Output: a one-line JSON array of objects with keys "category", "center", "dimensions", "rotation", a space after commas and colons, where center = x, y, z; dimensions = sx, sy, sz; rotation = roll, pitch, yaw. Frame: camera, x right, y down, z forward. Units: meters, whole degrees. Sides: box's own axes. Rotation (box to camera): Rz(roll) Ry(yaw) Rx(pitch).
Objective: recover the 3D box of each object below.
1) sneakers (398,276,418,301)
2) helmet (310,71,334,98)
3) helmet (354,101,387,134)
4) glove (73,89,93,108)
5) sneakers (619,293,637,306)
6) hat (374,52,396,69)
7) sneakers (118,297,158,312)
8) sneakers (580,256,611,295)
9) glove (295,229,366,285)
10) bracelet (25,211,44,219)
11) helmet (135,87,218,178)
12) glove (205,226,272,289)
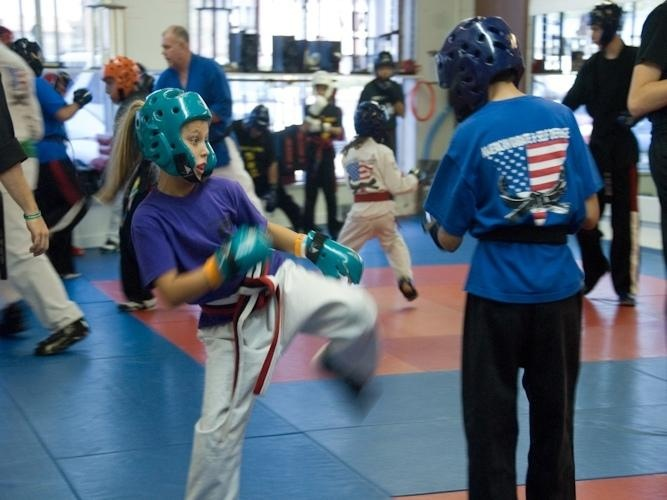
[{"category": "sneakers", "center": [0.702, 0.377, 6.491], "dimensions": [0.148, 0.269, 0.124], "rotation": [-8, 16, -18]}, {"category": "helmet", "center": [-0.150, -2.467, 10.170], "dimensions": [0.433, 0.386, 0.328], "rotation": [-2, 10, -10]}, {"category": "helmet", "center": [0.458, -1.288, 6.796], "dimensions": [0.373, 0.341, 0.287], "rotation": [-1, 2, -39]}, {"category": "glove", "center": [-2.836, -1.693, 7.785], "dimensions": [0.229, 0.279, 0.087], "rotation": [3, -27, -11]}, {"category": "sneakers", "center": [2.909, 0.497, 6.769], "dimensions": [0.137, 0.115, 0.103], "rotation": [1, -2, 18]}, {"category": "hat", "center": [0.768, -2.787, 10.093], "dimensions": [0.330, 0.191, 0.322], "rotation": [0, 6, 14]}, {"category": "sneakers", "center": [-1.934, 0.535, 6.782], "dimensions": [0.408, 0.159, 0.132], "rotation": [0, 5, 1]}, {"category": "sneakers", "center": [2.598, 0.255, 6.791], "dimensions": [0.134, 0.371, 0.258], "rotation": [9, 5, -13]}, {"category": "glove", "center": [0.002, 0.036, 3.288], "dimensions": [0.296, 0.113, 0.215], "rotation": [30, -7, 8]}, {"category": "bracelet", "center": [-1.922, -0.208, 4.393], "dimensions": [0.072, 0.065, 0.066], "rotation": [-6, -2, -5]}, {"category": "helmet", "center": [-0.700, -0.506, 3.033], "dimensions": [0.323, 0.392, 0.226], "rotation": [-6, 16, -12]}, {"category": "glove", "center": [-0.389, 0.041, 2.872], "dimensions": [0.258, 0.191, 0.123], "rotation": [-29, -24, 0]}]
